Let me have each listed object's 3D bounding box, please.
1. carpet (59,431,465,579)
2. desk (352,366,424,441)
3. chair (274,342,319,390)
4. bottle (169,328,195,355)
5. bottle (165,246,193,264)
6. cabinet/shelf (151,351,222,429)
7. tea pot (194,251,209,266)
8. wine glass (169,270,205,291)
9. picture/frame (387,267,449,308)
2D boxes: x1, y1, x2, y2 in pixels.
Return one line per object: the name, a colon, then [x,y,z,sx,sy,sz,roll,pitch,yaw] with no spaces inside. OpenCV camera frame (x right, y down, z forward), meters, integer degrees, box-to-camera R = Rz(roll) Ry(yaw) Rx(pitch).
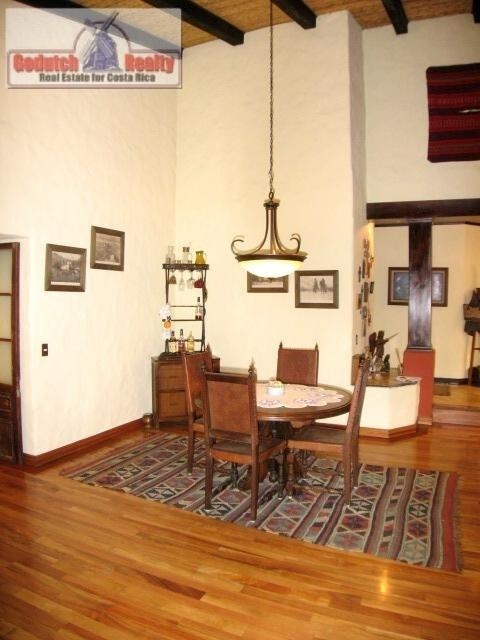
carpet: [0.107,1.231,3.970,3.105,0.203,1.681,2,4,27]
desk: [1.601,0.854,5.337,0.628,0.547,0.656,3,6,31]
chair: [0.549,0.415,4.678,0.356,0.754,0.365,2,2,25]
bottle: [-0.701,0.279,5.789,0.259,0.275,0.091,-1,5,-22]
bottle: [-0.737,-0.767,5.924,0.359,0.293,0.196,4,5,26]
cabinet/shelf: [-0.648,0.724,5.715,0.687,0.951,0.350,-2,37,-12]
tea pot: [-0.467,-0.713,5.856,0.185,0.215,0.136,1,1,8]
wine glass: [-0.720,-0.471,6.021,0.183,0.349,0.672,-6,12,-43]
picture/frame: [2.718,-0.475,7.333,0.692,0.678,0.058,2,6,30]
